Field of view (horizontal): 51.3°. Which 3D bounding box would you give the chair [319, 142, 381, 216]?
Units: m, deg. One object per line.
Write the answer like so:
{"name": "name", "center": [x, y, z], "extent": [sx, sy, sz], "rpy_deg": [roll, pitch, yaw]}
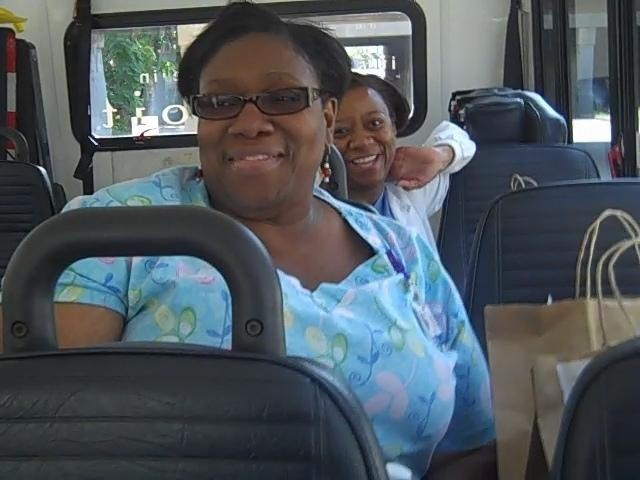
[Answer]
{"name": "chair", "center": [0.060, -0.178, 1.781], "extent": [0.141, 0.207, 0.164], "rpy_deg": [-12, 10, -4]}

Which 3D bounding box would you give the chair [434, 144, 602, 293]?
{"name": "chair", "center": [0.753, -0.154, 3.073], "extent": [0.535, 0.881, 0.761], "rpy_deg": [2, 15, 3]}

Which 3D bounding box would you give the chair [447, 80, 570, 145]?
{"name": "chair", "center": [0.905, -0.595, 3.338], "extent": [0.361, 0.227, 0.498], "rpy_deg": [2, 10, 6]}
